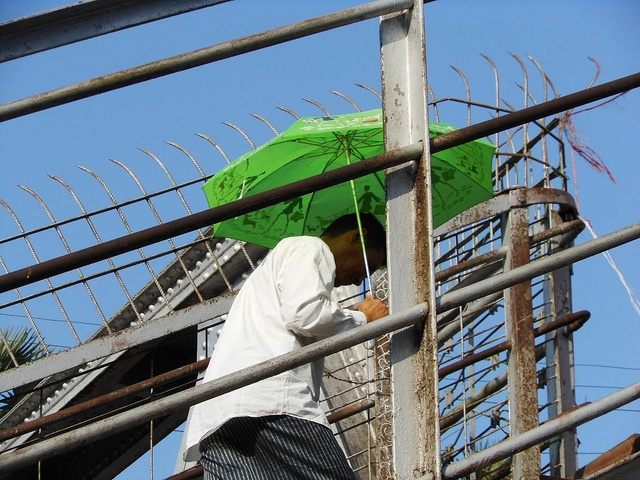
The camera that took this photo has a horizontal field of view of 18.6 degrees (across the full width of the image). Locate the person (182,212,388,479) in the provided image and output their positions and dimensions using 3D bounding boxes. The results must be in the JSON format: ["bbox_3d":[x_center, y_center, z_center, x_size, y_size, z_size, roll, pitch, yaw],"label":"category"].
[{"bbox_3d":[-0.166,0.806,14.026,1.140,2.313,0.927,17,-42,-19],"label":"person"}]
